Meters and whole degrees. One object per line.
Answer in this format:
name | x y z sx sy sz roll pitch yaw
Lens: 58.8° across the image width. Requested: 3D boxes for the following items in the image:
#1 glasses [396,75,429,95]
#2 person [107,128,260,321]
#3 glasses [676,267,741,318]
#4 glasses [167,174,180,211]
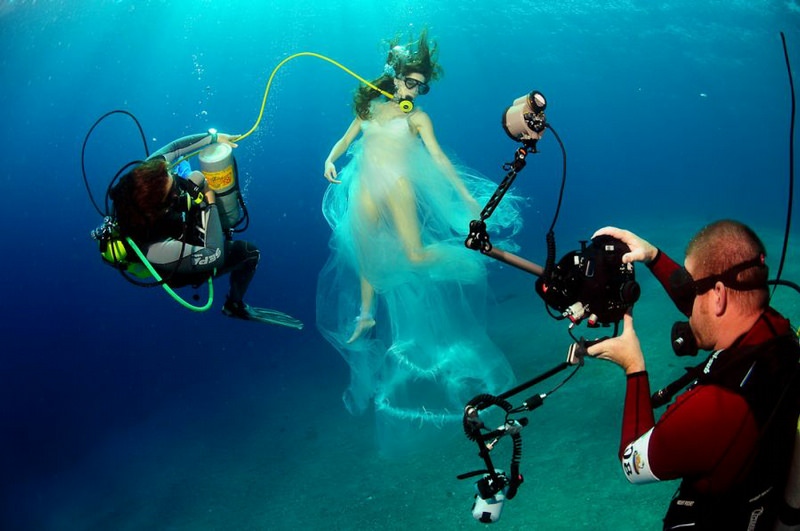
glasses | 0.105 -1.464 5.721 0.262 0.132 0.078 0 29 -4
person | -1.696 -0.193 5.729 1.001 1.848 1.134 -5 60 6
glasses | 1.774 0.174 4.098 0.305 0.187 0.240 -2 -9 35
glasses | -1.593 -0.530 5.034 0.071 0.171 0.128 3 7 -3
